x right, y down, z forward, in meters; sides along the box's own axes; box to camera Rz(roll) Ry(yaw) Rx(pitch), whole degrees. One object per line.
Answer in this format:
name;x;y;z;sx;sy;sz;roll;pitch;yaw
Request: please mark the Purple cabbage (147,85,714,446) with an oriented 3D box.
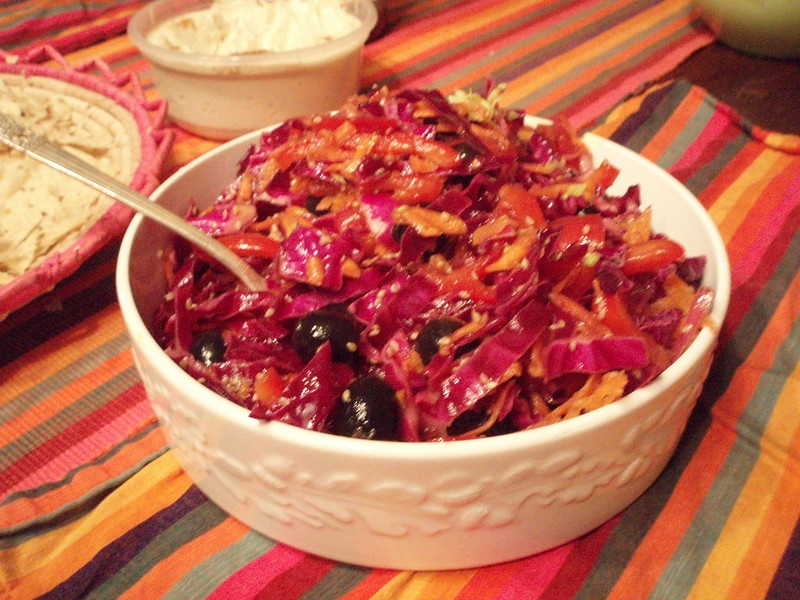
Purple cabbage;0.036;-0.037;1.113;0.606;0.269;0.633;4;37;7
